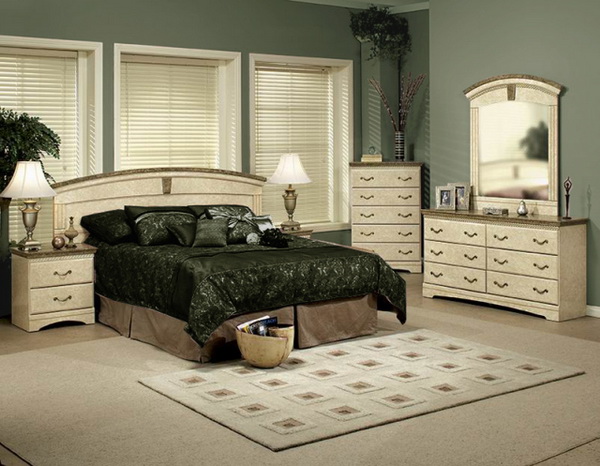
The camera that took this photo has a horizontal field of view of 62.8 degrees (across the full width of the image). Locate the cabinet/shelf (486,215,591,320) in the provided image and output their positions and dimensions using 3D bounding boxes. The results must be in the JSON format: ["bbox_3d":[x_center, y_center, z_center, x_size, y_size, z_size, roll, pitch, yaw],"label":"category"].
[{"bbox_3d":[2.459,0.339,4.977,0.692,0.967,1.203,-2,3,-36],"label":"cabinet/shelf"}]

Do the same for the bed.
[{"bbox_3d":[-0.791,0.097,4.901,2.464,1.630,2.500,-3,5,-35],"label":"bed"}]

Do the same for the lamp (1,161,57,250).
[{"bbox_3d":[-2.663,-0.272,4.826,0.459,0.833,0.827,-3,5,-26],"label":"lamp"}]

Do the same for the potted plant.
[{"bbox_3d":[1.300,-2.205,7.240,1.062,2.270,0.526,0,5,11],"label":"potted plant"}]
